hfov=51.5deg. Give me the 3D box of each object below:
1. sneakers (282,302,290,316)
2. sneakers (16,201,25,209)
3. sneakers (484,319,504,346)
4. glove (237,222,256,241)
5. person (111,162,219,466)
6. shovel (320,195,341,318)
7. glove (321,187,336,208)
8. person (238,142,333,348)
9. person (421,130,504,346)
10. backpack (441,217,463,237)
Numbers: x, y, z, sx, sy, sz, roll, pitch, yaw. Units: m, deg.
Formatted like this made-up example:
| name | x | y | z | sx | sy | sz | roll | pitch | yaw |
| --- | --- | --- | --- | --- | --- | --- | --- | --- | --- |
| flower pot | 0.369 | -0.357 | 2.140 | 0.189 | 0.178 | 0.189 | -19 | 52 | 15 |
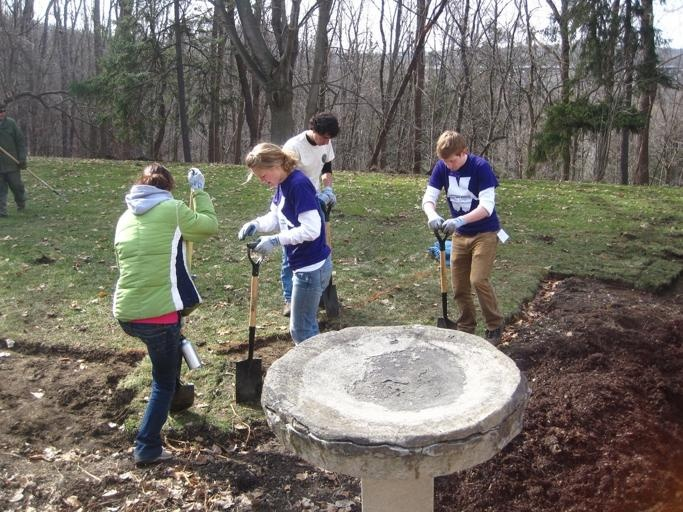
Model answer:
| name | x | y | z | sx | sy | sz | roll | pitch | yaw |
| --- | --- | --- | --- | --- | --- | --- | --- | --- | --- |
| sneakers | -0.802 | 0.769 | 10.329 | 0.106 | 0.095 | 0.210 | -11 | 28 | 14 |
| sneakers | -6.146 | -0.976 | 13.617 | 0.095 | 0.176 | 0.165 | 13 | 17 | -5 |
| sneakers | 1.978 | 1.054 | 9.327 | 0.172 | 0.247 | 0.536 | -3 | 24 | 32 |
| glove | -1.136 | -0.286 | 8.757 | 0.188 | 0.101 | 0.260 | 1 | 52 | 57 |
| person | -2.049 | 0.668 | 8.131 | 1.059 | 3.388 | 0.562 | -3 | 10 | -20 |
| shovel | -0.166 | 0.057 | 10.138 | 0.260 | 1.731 | 0.130 | 5 | 10 | 35 |
| glove | -0.209 | -0.825 | 9.934 | 0.169 | 0.138 | 0.306 | 4 | 45 | -18 |
| person | -0.594 | -0.125 | 8.493 | 0.991 | 2.423 | 1.061 | 5 | 10 | 24 |
| person | 1.599 | -0.229 | 9.283 | 0.851 | 2.786 | 0.943 | -7 | 12 | -38 |
| backpack | 1.411 | -0.387 | 9.040 | 0.241 | 0.117 | 0.184 | -17 | -6 | -36 |
